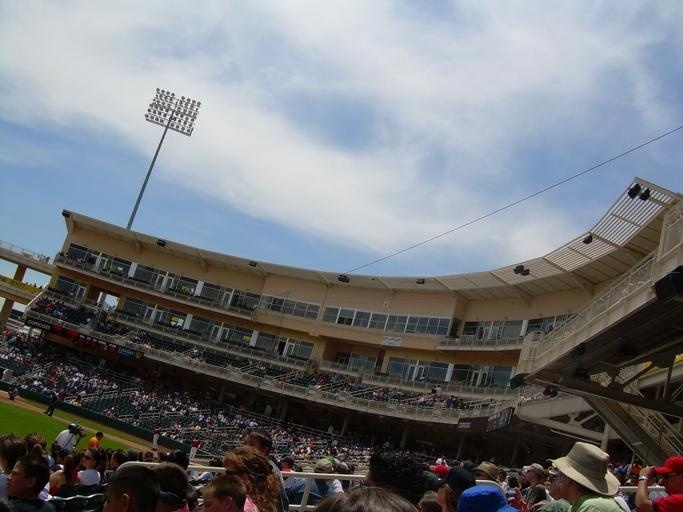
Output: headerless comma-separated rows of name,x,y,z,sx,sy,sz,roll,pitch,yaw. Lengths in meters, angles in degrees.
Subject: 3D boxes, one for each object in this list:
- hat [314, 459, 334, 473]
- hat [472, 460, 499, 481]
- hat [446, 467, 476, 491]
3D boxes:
hat,-0.238,3.066,8.757,0.239,0.172,0.542,13,-15,1
hat,1.878,2.814,7.859,0.309,0.167,0.388,17,-8,-35
hat,1.210,2.292,6.201,0.212,0.125,0.276,1,8,-38
